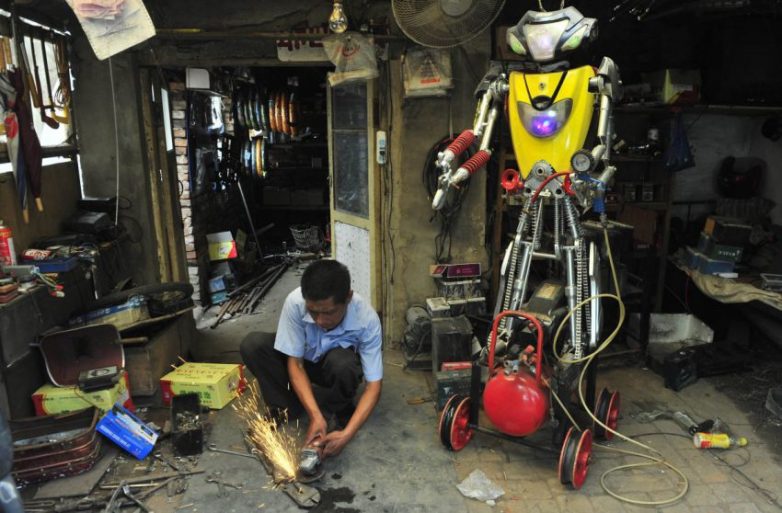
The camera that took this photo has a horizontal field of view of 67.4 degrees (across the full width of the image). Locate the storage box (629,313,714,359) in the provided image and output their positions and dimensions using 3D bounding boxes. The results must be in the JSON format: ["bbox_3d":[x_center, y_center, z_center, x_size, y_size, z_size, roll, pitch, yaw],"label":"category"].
[{"bbox_3d":[3.028,0.843,6.277,0.601,0.362,0.590,-17,22,-33],"label":"storage box"}]

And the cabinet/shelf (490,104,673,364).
[{"bbox_3d":[1.666,-0.144,5.227,1.503,2.497,1.257,1,15,8],"label":"cabinet/shelf"}]

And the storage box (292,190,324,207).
[{"bbox_3d":[-1.477,-1.040,10.507,0.568,0.270,0.284,3,41,2],"label":"storage box"}]

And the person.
[{"bbox_3d":[-0.550,0.770,4.659,0.812,1.623,1.042,-16,23,-42],"label":"person"}]
